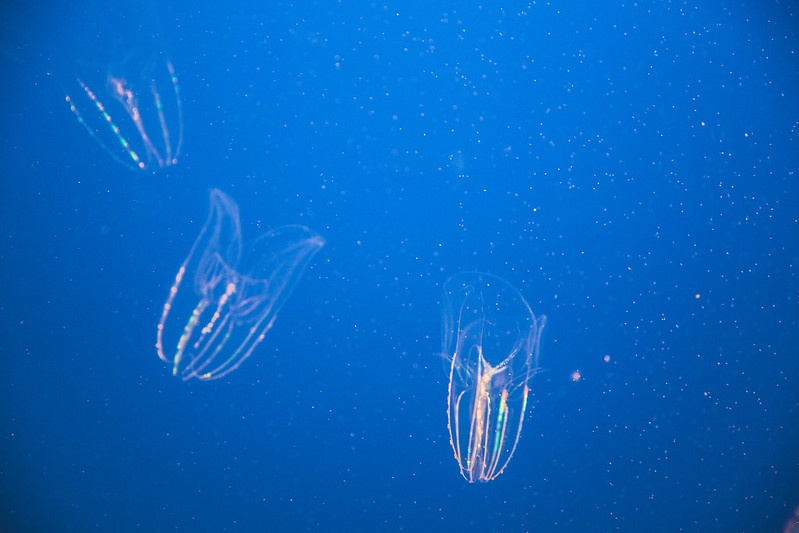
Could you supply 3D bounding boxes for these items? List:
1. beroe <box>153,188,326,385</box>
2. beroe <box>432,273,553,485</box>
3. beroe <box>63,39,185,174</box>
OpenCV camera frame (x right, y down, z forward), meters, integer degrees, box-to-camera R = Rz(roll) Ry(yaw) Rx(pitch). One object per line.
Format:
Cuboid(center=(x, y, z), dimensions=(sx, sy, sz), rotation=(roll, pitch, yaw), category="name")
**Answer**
Cuboid(center=(-0.664, 0.108, 3.457), dimensions=(0.636, 0.190, 0.737), rotation=(30, -96, 0), category="beroe")
Cuboid(center=(0.344, 0.415, 3.186), dimensions=(0.449, 0.185, 0.793), rotation=(10, -91, 0), category="beroe")
Cuboid(center=(-1.035, -0.593, 3.276), dimensions=(0.441, 0.120, 0.465), rotation=(-30, -91, 1), category="beroe")
